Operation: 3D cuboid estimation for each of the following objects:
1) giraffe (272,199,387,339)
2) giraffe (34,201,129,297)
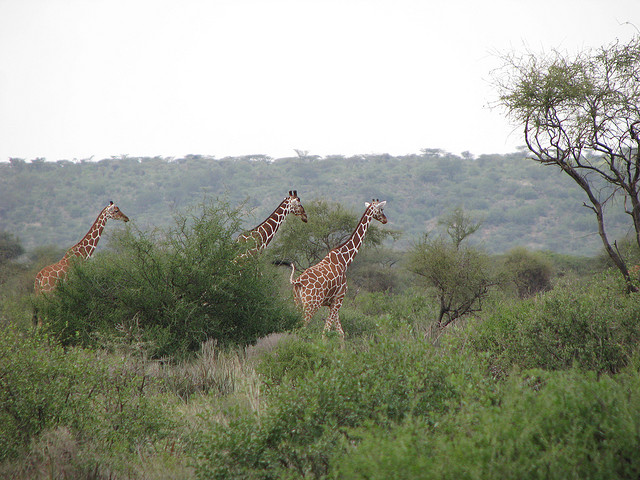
[{"bbox_3d":[0.307,0.470,15.711,1.978,2.999,0.638,9,-21,-33],"label":"giraffe"},{"bbox_3d":[-4.853,0.181,15.436,1.589,2.410,2.077,5,-20,-22],"label":"giraffe"}]
